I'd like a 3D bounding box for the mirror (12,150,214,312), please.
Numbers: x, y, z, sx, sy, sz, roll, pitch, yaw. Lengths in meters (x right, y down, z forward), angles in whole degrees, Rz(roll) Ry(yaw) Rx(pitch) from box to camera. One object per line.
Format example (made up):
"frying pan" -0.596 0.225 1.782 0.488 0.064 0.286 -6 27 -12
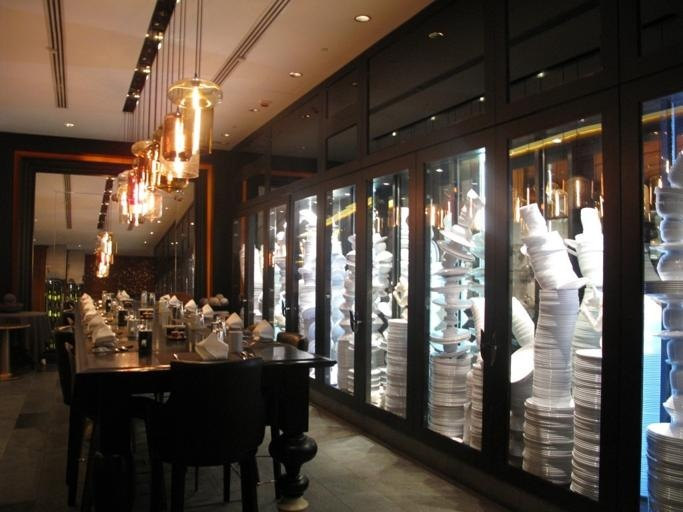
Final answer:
"mirror" -3.633 -0.382 9.012 2.547 2.465 0.855 0 1 -20
